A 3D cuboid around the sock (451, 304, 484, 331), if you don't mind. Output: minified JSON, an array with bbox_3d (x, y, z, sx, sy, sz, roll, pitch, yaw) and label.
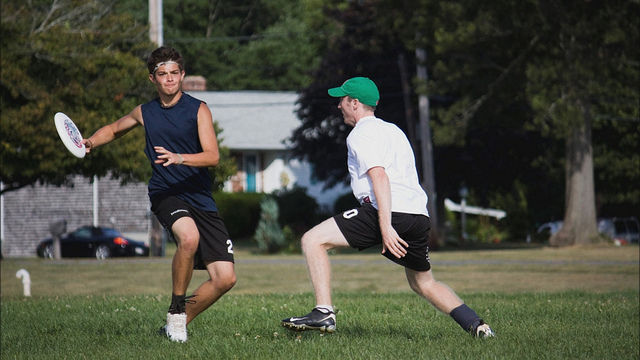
[{"bbox_3d":[2.604,2.415,18.660,0.411,0.508,0.218,-38,-20,-31],"label":"sock"}]
